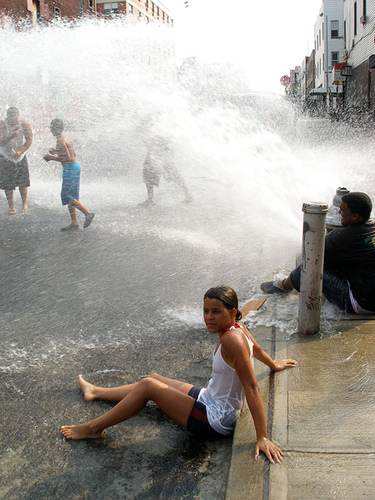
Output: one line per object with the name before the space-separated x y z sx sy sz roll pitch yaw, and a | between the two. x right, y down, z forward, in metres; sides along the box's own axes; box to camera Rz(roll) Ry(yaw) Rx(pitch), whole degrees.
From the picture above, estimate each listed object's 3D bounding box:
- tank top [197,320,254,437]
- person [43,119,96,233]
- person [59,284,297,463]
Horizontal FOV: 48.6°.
tank top | 0.171 0.741 2.233 0.261 0.572 0.183 -4 14 9
person | -2.134 -1.374 7.400 0.655 1.962 0.962 -10 14 -13
person | -0.012 0.613 2.406 1.214 0.873 0.832 -1 14 22
